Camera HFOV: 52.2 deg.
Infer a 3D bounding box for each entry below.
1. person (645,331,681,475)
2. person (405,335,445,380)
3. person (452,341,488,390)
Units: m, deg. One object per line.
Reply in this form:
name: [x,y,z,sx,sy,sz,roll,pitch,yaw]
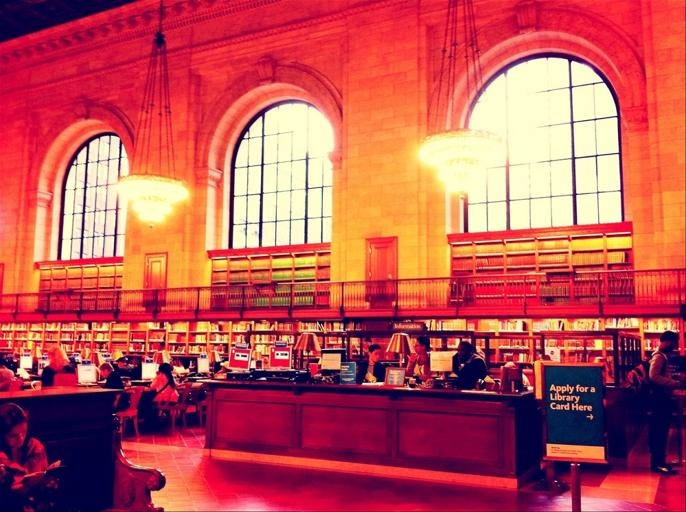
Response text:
person: [4.352,1.987,9.526,0.428,1.887,0.331,-3,-6,22]
person: [1.040,1.456,9.765,0.333,0.645,0.883,-2,-6,5]
person: [1.707,1.494,9.617,0.520,0.932,0.650,0,-16,6]
